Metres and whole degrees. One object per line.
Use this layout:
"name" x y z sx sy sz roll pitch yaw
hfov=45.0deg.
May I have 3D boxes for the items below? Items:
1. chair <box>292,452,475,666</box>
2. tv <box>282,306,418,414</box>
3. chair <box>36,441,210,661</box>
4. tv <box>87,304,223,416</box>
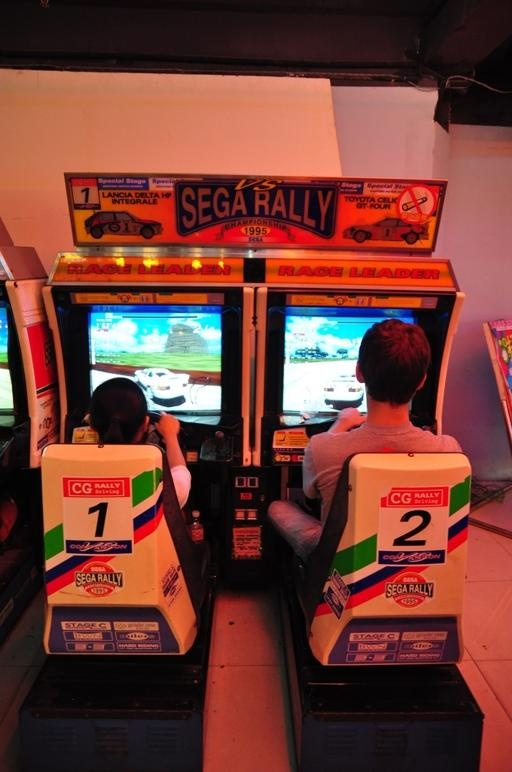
"chair" 0.367 0.508 2.026 0.457 0.649 0.668 3 -3 -11
"tv" 0.332 -0.117 2.288 0.450 0.328 0.006 1 5 -5
"chair" -0.404 0.481 2.046 0.534 0.640 0.633 -1 3 -8
"tv" -0.411 -0.129 2.459 0.467 0.372 0.019 1 4 -1
